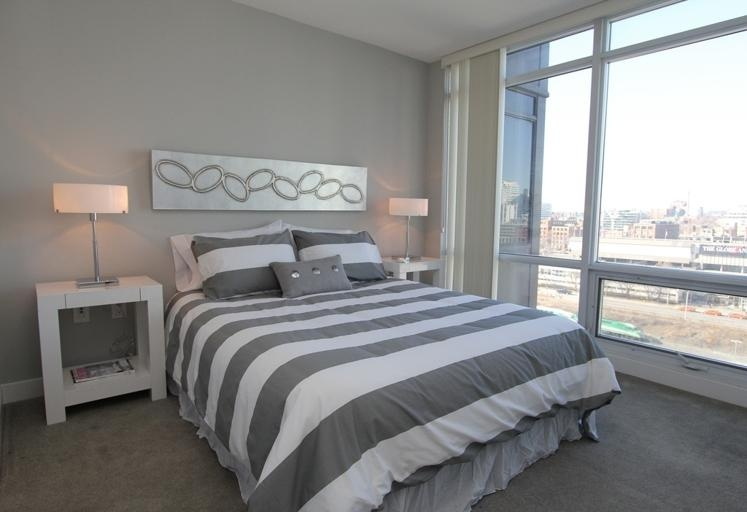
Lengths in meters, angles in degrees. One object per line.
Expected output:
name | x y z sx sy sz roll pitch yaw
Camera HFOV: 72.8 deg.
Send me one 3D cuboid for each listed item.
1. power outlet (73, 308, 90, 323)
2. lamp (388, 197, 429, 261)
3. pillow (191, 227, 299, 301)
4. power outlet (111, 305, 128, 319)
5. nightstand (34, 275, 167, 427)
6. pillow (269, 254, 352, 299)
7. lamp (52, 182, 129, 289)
power outlet | -2.497 0.508 4.337 0.112 0.111 0.114 -4 5 -9
lamp | 0.408 -0.326 5.862 0.588 0.708 0.470 -7 9 -38
pillow | -1.040 0.197 4.505 0.654 0.184 0.605 -25 -7 9
power outlet | -2.243 0.492 4.465 0.114 0.162 0.117 -17 -20 27
nightstand | -2.346 0.750 4.331 0.946 1.001 0.611 -4 5 -43
pillow | -0.542 0.189 4.529 0.679 0.305 0.295 -9 16 -34
lamp | -2.276 -0.172 4.087 0.426 0.827 0.401 2 8 28
